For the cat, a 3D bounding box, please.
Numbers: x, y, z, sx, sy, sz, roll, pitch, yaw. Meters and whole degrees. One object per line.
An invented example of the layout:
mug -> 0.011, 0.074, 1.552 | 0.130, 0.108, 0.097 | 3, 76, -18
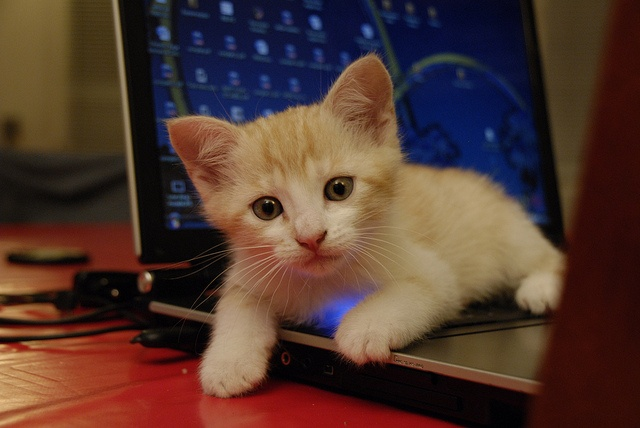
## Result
cat -> 0.187, -0.031, 1.414 | 1.009, 0.663, 0.593 | -18, 15, -40
